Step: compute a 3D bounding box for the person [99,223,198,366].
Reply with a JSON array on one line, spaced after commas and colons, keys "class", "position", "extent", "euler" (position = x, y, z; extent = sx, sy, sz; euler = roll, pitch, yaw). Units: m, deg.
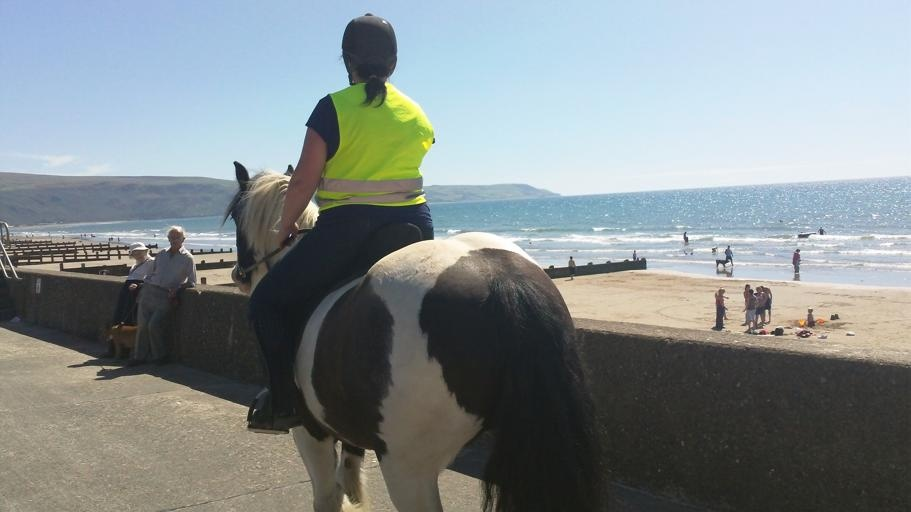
[{"class": "person", "position": [-5.204, 0.601, 10.523], "extent": [1.641, 2.261, 1.150], "euler": [9, 16, 33]}]
